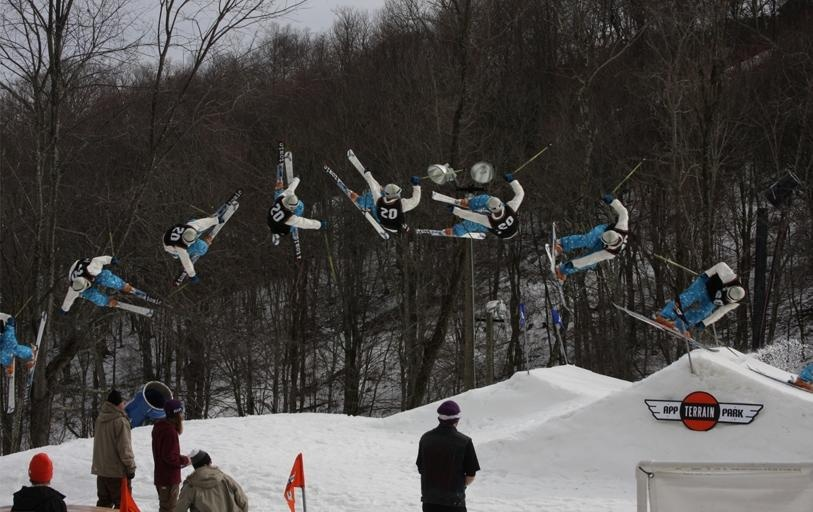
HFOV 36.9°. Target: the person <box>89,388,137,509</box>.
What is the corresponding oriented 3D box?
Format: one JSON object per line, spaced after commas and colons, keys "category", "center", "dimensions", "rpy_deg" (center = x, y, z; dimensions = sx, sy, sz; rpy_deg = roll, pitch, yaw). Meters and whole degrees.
{"category": "person", "center": [-10.072, 6.551, 41.644], "dimensions": [1.446, 4.005, 0.855], "rpy_deg": [-5, -7, 28]}
